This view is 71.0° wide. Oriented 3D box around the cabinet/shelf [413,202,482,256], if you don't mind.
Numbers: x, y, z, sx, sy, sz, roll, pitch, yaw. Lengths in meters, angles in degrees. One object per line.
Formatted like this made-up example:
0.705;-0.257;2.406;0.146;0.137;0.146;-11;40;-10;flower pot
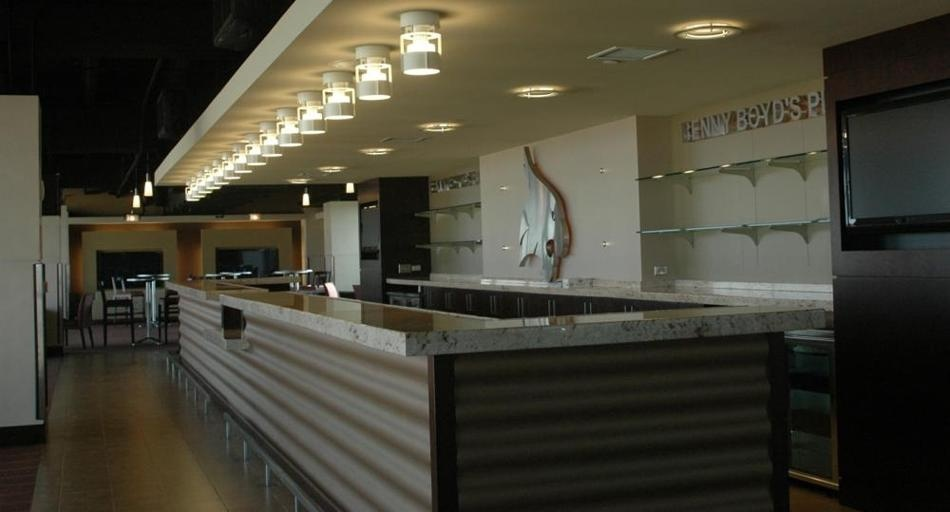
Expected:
-0.468;-0.521;12.683;0.720;0.894;2.489;0;-1;-21;cabinet/shelf

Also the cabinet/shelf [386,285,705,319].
0.417;0.683;10.212;0.380;0.440;7.154;0;-1;-33;cabinet/shelf

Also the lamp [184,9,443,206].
-2.034;-1.826;8.229;0.462;0.425;5.513;-6;-12;-32;lamp

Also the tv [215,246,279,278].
-7.967;0.107;23.404;2.099;1.232;1.047;0;0;-9;tv
